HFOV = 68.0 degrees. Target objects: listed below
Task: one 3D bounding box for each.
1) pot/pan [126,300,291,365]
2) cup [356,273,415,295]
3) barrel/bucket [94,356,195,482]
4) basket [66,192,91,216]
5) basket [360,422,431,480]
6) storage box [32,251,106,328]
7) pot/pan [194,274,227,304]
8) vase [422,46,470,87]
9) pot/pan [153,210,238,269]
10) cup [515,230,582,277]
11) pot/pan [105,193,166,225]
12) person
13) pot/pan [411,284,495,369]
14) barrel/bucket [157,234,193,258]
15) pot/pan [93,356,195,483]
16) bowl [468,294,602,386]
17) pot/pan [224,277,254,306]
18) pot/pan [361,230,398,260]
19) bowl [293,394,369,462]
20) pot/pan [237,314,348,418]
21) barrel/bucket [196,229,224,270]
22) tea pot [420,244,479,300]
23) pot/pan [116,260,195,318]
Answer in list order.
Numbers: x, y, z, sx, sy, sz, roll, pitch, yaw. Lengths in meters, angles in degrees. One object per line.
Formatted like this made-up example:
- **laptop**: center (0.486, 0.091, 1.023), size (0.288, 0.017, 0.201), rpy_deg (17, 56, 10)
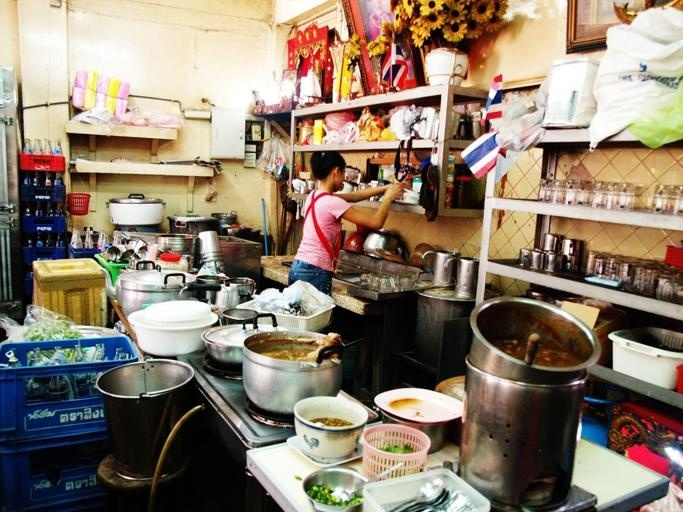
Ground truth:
- **pot/pan**: center (-0.908, 0.386, 2.749), size (0.439, 0.216, 0.495), rpy_deg (-8, 14, -30)
- **cup**: center (0.381, 0.224, 4.083), size (0.291, 0.103, 0.188), rpy_deg (-3, 8, -29)
- **barrel/bucket**: center (-0.895, 0.772, 2.635), size (0.498, 0.474, 0.550), rpy_deg (4, 14, 1)
- **basket**: center (-3.230, -0.640, 6.181), size (0.314, 0.251, 0.299), rpy_deg (0, 6, 19)
- **basket**: center (0.213, 0.751, 1.905), size (0.273, 0.180, 0.249), rpy_deg (-1, 9, -2)
- **storage box**: center (-2.183, 0.206, 4.091), size (0.603, 0.573, 0.589), rpy_deg (-8, 25, -34)
- **pot/pan**: center (-0.875, 0.219, 3.438), size (0.207, 0.167, 0.597), rpy_deg (-3, 9, -16)
- **vase**: center (0.834, -1.516, 4.134), size (0.362, 0.321, 0.330), rpy_deg (-9, 19, -29)
- **pot/pan**: center (-1.704, -0.169, 5.710), size (0.868, 0.823, 0.758), rpy_deg (1, 4, 1)
- **cup**: center (1.489, 0.038, 3.592), size (0.289, 0.280, 0.421), rpy_deg (8, -4, -41)
- **pot/pan**: center (-2.489, -0.533, 6.268), size (0.545, 0.304, 0.465), rpy_deg (0, 3, -5)
- **person**: center (-0.001, -0.282, 4.270), size (0.778, 1.179, 0.623), rpy_deg (-6, 10, -30)
- **pot/pan**: center (0.786, 0.512, 3.904), size (0.587, 0.588, 0.579), rpy_deg (4, 9, 2)
- **barrel/bucket**: center (-1.504, -0.119, 4.571), size (0.229, 0.222, 0.229), rpy_deg (2, 10, 0)
- **pot/pan**: center (-0.892, 0.779, 2.626), size (0.498, 0.473, 0.551), rpy_deg (4, 14, 1)
- **bowl**: center (0.715, 0.330, 1.832), size (0.417, 0.144, 0.403), rpy_deg (4, 25, -2)
- **pot/pan**: center (-0.694, 0.230, 3.441), size (0.184, 0.132, 0.143), rpy_deg (-2, 7, -25)
- **pot/pan**: center (0.355, -0.114, 4.702), size (0.294, 0.193, 0.217), rpy_deg (4, 5, -3)
- **bowl**: center (-0.044, 0.706, 2.037), size (0.292, 0.170, 0.289), rpy_deg (3, 6, 0)
- **pot/pan**: center (-0.209, 0.470, 2.258), size (0.397, 0.239, 0.391), rpy_deg (-1, 9, -21)
- **barrel/bucket**: center (-1.089, -0.042, 4.214), size (0.184, 0.312, 0.745), rpy_deg (-3, 9, -15)
- **tea pot**: center (0.726, 0.136, 3.840), size (0.470, 0.334, 0.250), rpy_deg (-2, 12, -23)
- **pot/pan**: center (-1.215, 0.194, 3.248), size (0.342, 0.253, 0.383), rpy_deg (0, 5, -33)
